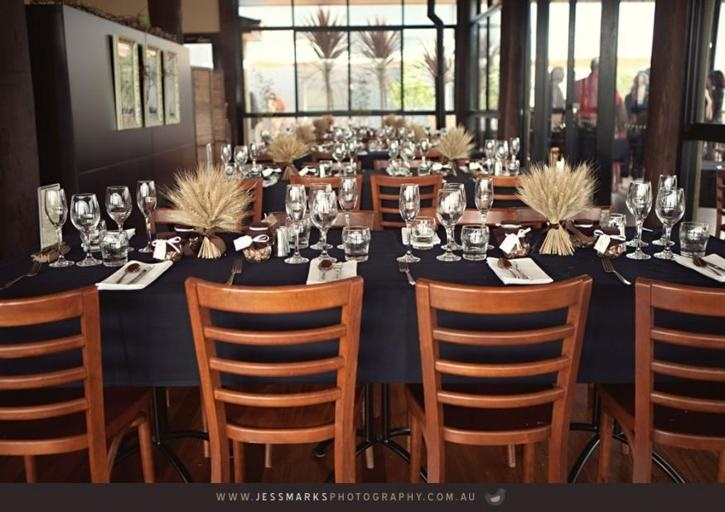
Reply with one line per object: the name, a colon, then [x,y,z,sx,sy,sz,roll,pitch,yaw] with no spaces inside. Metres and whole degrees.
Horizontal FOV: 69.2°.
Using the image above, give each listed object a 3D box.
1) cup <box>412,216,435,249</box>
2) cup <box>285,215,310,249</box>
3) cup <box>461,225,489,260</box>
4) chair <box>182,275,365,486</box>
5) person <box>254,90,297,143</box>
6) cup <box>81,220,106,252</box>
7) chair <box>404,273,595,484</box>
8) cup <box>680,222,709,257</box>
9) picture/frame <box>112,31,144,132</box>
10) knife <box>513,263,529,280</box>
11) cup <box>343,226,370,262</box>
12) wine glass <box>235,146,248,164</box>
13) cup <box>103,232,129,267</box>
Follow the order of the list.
cup: [0.255,-0.099,2.354,0.113,0.134,0.130,0,2,3]
cup: [-0.268,-0.108,2.353,0.116,0.149,0.133,-1,14,-2]
cup: [0.457,-0.057,2.216,0.125,0.151,0.131,-1,7,0]
chair: [-0.246,0.439,1.767,0.512,0.863,0.445,-3,13,-2]
person: [-1.705,-2.681,10.073,0.800,0.884,0.288,-4,13,-6]
cup: [-1.128,-0.082,2.213,0.101,0.101,0.095,9,30,-5]
chair: [0.422,0.463,1.747,0.550,0.899,0.418,-2,13,4]
cup: [1.294,-0.065,2.059,0.121,0.151,0.129,-1,4,0]
picture/frame: [-2.338,-1.711,5.259,0.168,0.880,0.743,-5,13,-11]
knife: [0.591,0.060,1.961,0.019,0.022,0.066,2,19,-7]
cup: [-0.023,-0.048,2.176,0.120,0.143,0.129,0,8,0]
wine glass: [-1.052,-0.865,4.557,0.110,0.160,0.255,-6,13,-12]
cup: [-0.977,-0.025,2.155,0.117,0.144,0.125,1,6,0]
